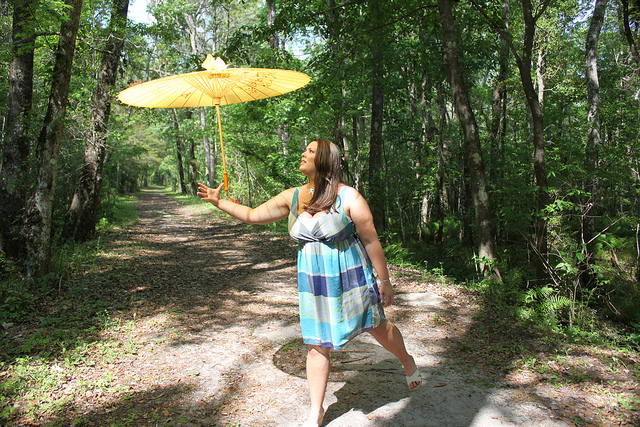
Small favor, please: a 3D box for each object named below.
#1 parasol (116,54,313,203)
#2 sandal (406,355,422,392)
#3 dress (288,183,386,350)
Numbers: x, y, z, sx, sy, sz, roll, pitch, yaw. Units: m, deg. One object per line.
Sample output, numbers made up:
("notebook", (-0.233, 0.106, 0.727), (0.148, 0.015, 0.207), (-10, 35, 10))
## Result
("parasol", (-1.684, -1.111, 8.794), (2.820, 2.886, 2.819), (-20, -8, 43))
("sandal", (1.740, 2.954, 9.021), (0.244, 0.164, 0.694), (-37, 17, 14))
("dress", (0.327, 1.139, 8.625), (1.066, 3.407, 2.020), (-1, 2, 33))
